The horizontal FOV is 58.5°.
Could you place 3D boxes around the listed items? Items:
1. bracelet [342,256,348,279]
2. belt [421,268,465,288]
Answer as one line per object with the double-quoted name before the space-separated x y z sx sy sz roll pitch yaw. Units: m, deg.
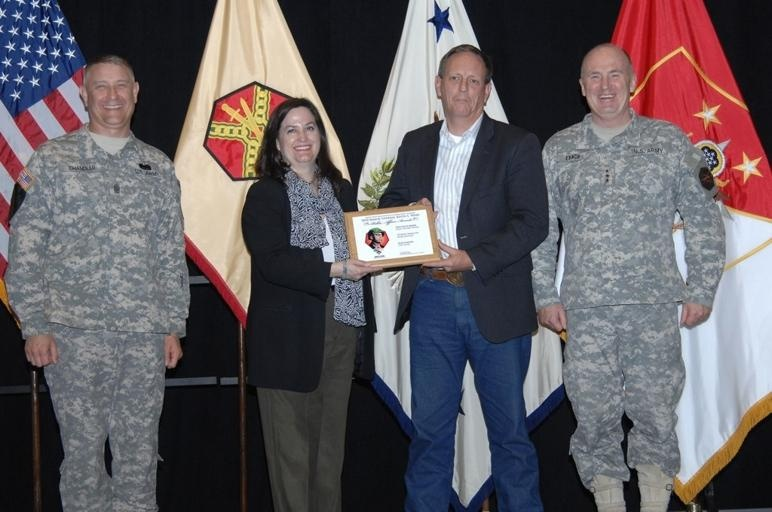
"bracelet" -0.224 0.075 3.725 0.028 0.076 0.068 4 -14 -9
"belt" 0.326 0.116 3.863 0.151 0.079 0.113 12 7 22
